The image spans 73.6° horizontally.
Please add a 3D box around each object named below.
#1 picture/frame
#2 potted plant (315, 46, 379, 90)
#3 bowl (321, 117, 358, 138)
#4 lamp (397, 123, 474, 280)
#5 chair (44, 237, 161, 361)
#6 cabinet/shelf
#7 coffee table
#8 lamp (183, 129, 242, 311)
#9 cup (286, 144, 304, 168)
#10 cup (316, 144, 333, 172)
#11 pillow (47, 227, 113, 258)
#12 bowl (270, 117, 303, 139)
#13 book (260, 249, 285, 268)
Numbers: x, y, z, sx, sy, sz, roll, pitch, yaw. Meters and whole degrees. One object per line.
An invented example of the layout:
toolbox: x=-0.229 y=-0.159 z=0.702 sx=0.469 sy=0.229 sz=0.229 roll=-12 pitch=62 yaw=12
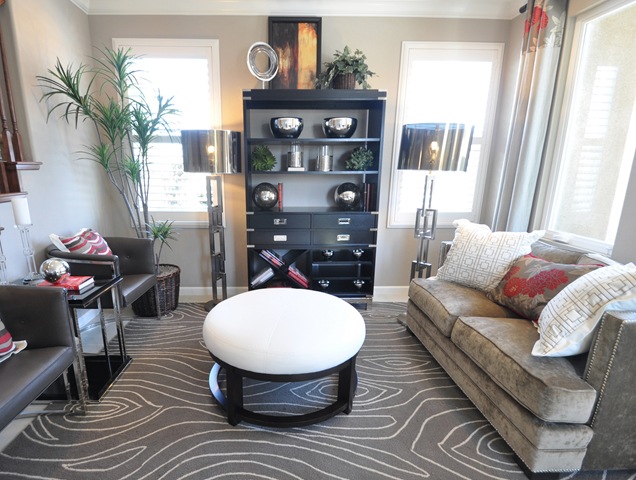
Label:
picture/frame: x=-0.220 y=-1.769 z=4.011 sx=0.483 sy=0.629 sz=0.132 roll=-1 pitch=16 yaw=-7
potted plant: x=0.275 y=-1.527 z=3.896 sx=0.501 sy=0.308 sz=0.457 roll=-8 pitch=0 yaw=-10
bowl: x=0.202 y=-1.061 z=3.966 sx=0.249 sy=0.135 sz=0.237 roll=0 pitch=11 yaw=0
lamp: x=1.007 y=-0.331 z=3.910 sx=0.638 sy=1.366 sz=0.594 roll=-2 pitch=12 yaw=-26
chair: x=-1.835 y=0.359 z=3.607 sx=0.754 sy=0.733 sz=0.686 roll=0 pitch=14 yaw=-6
cabinet/shelf: x=-0.074 y=-0.314 z=4.190 sx=1.333 sy=1.918 sz=0.507 roll=-1 pitch=19 yaw=-5
coffee table: x=-0.238 y=0.683 z=3.033 sx=0.955 sy=0.465 sz=0.906 roll=0 pitch=15 yaw=-2
lamp: x=-0.963 y=-0.199 z=4.103 sx=0.487 sy=1.686 sz=0.534 roll=0 pitch=16 yaw=-2
cup: x=-0.213 y=-0.815 z=4.111 sx=0.155 sy=0.223 sz=0.295 roll=0 pitch=14 yaw=-2
cup: x=0.068 y=-0.790 z=4.082 sx=0.169 sy=0.236 sz=0.385 roll=0 pitch=14 yaw=0
pillow: x=-1.916 y=0.054 z=3.519 sx=0.450 sy=0.236 sz=0.368 roll=-12 pitch=18 yaw=-42
bowl: x=-0.303 y=-1.013 z=3.895 sx=0.233 sy=0.132 sz=0.225 roll=0 pitch=10 yaw=0
book: x=-0.454 y=0.180 z=4.209 sx=0.229 sy=0.051 sz=0.131 roll=36 pitch=20 yaw=-3
